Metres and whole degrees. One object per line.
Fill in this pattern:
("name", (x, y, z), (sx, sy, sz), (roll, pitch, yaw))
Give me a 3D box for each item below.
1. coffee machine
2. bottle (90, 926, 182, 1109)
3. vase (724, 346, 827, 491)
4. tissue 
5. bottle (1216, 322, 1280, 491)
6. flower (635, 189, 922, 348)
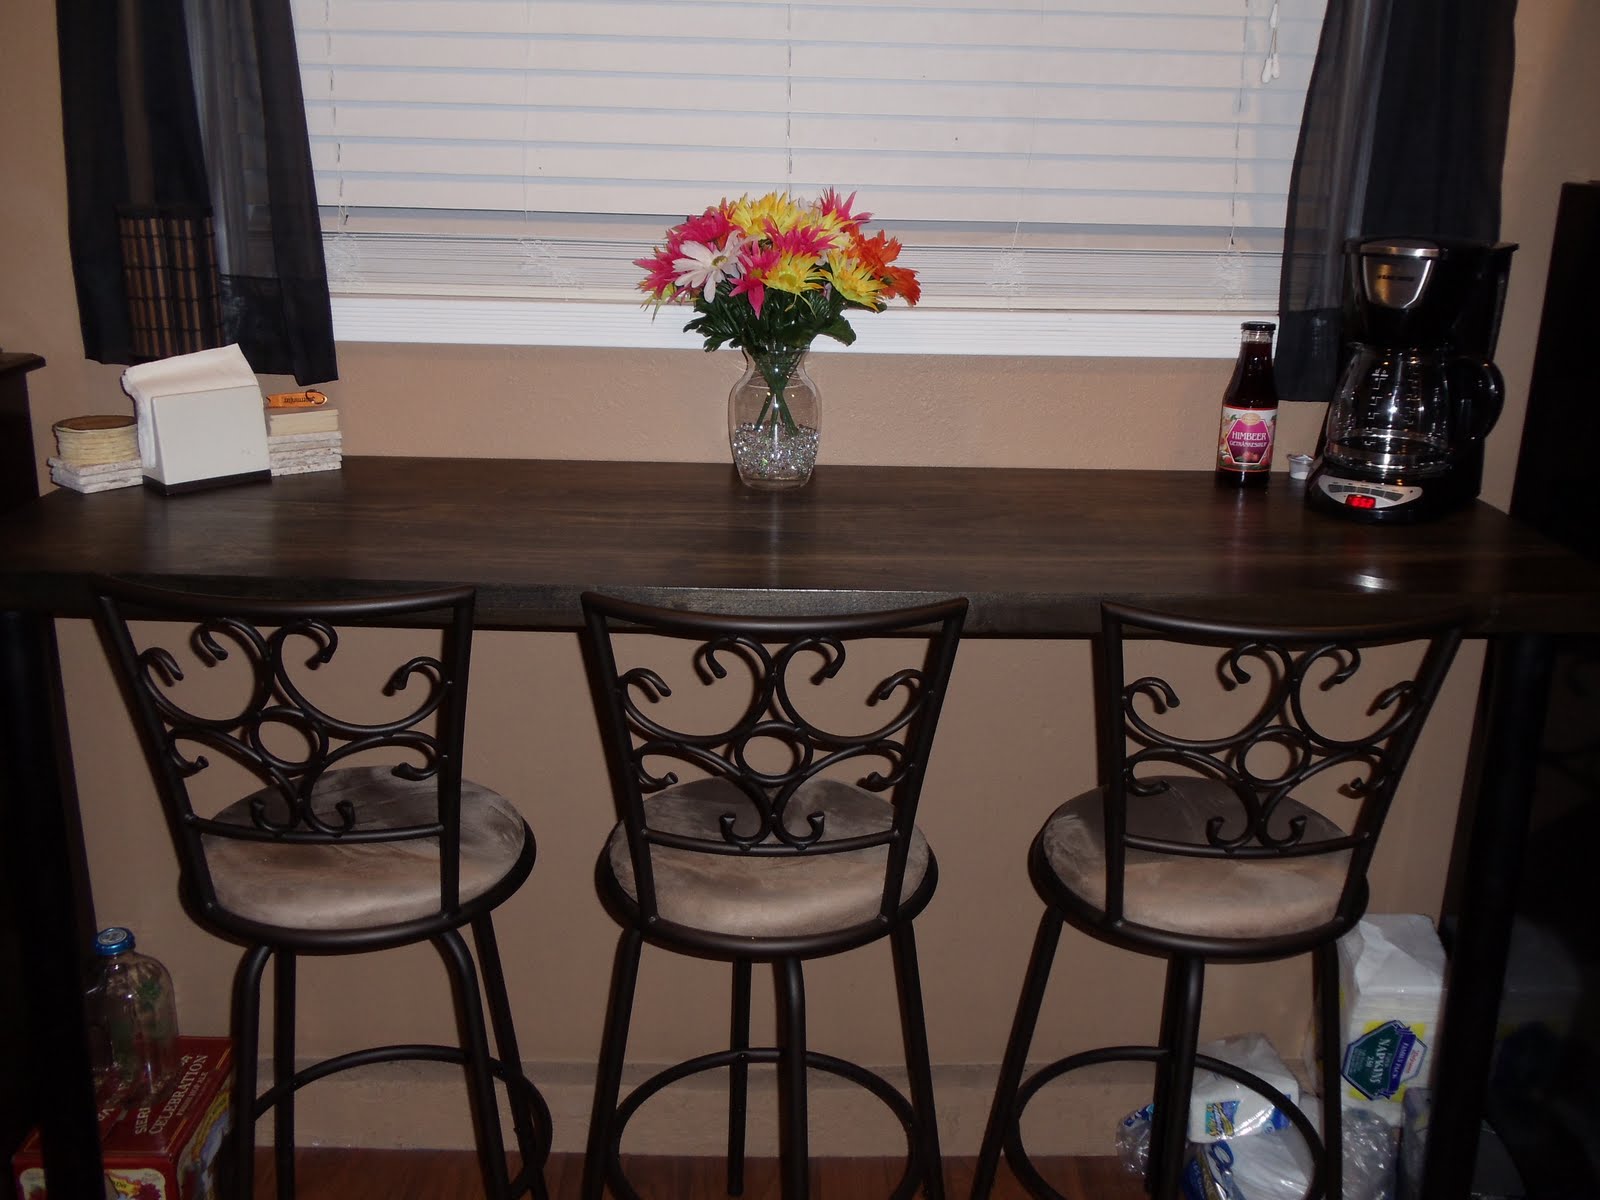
("coffee machine", (1.072, -0.384, 2.495), (0.313, 0.475, 0.335), (9, 15, 29))
("bottle", (-1.197, 0.778, 2.623), (0.141, 0.359, 0.104), (17, 22, 41))
("vase", (-0.045, -0.320, 2.523), (0.160, 0.255, 0.154), (11, 31, 20))
("tissue ", (-1.056, -0.318, 2.511), (0.219, 0.225, 0.102), (-12, 23, -27))
("bottle", (0.803, -0.346, 2.551), (0.087, 0.294, 0.065), (2, 20, 9))
("flower", (-0.029, -0.572, 2.422), (0.395, 0.301, 0.390), (10, 26, 15))
